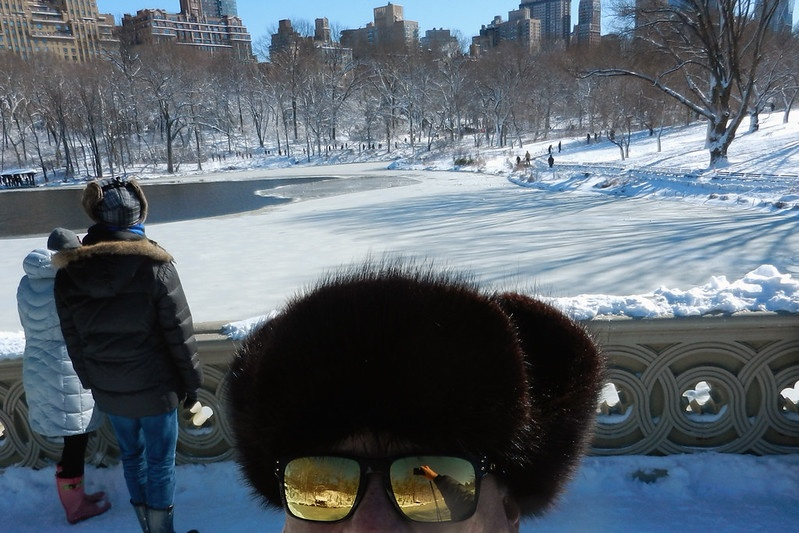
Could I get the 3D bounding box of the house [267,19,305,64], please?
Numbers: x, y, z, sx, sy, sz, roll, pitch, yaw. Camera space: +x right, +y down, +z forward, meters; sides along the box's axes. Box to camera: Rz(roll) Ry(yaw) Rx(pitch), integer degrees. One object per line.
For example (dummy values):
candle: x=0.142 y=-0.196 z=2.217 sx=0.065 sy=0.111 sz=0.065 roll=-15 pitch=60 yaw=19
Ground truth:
house: x=-15.094 y=-29.142 z=113.034 sx=5.303 sy=5.780 sz=5.174 roll=-12 pitch=18 yaw=-40

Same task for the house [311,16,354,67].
house: x=-11.440 y=-32.582 z=125.446 sx=6.368 sy=6.245 sz=6.640 roll=8 pitch=11 yaw=36
